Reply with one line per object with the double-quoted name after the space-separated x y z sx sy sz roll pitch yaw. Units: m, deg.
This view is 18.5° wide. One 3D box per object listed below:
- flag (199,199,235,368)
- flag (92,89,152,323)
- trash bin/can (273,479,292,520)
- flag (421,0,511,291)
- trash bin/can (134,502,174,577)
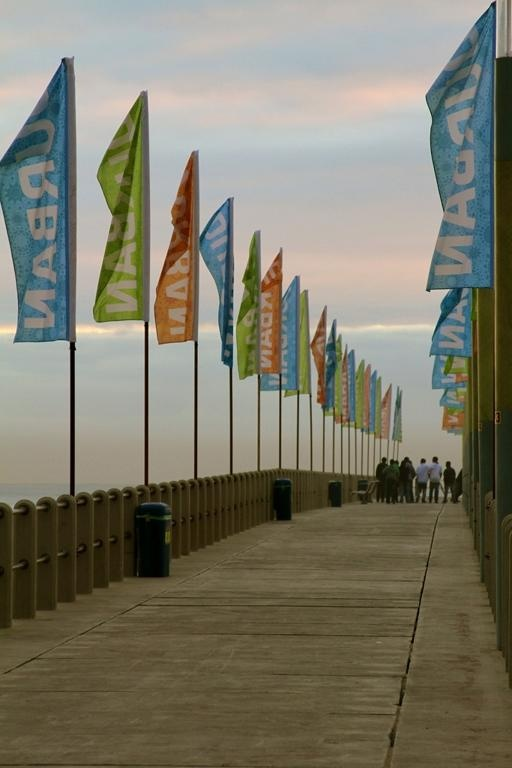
-0.689 -1.872 28.026 0.546 3.090 0.812 0 -5 -3 "flag"
-1.784 -2.390 20.794 0.715 3.349 1.209 0 -5 -6 "flag"
0.555 2.366 32.408 0.368 0.829 0.317 0 -5 -5 "trash bin/can"
1.838 -2.121 13.762 0.619 2.739 0.945 -2 -5 10 "flag"
-1.224 1.816 18.416 0.425 0.870 0.330 0 -5 -7 "trash bin/can"
